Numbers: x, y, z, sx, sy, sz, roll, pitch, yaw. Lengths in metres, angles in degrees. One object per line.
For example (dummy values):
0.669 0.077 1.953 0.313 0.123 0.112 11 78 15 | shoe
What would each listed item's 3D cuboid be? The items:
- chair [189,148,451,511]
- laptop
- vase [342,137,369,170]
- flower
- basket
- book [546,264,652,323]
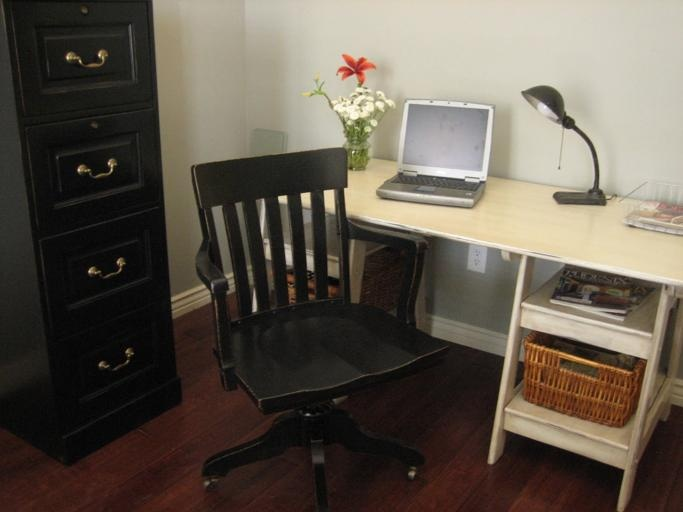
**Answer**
-0.066 0.288 1.984 0.864 1.190 0.846 -13 30 -27 | chair
0.404 -0.455 2.280 0.496 0.356 0.492 18 31 37 | laptop
0.076 -0.474 2.512 0.141 0.177 0.138 -1 23 -1 | vase
0.038 -0.669 2.528 0.374 0.501 0.302 -1 24 3 | flower
0.914 0.508 2.079 0.486 0.268 0.517 10 -10 25 | basket
0.918 0.128 1.898 0.229 0.058 0.237 7 27 24 | book
